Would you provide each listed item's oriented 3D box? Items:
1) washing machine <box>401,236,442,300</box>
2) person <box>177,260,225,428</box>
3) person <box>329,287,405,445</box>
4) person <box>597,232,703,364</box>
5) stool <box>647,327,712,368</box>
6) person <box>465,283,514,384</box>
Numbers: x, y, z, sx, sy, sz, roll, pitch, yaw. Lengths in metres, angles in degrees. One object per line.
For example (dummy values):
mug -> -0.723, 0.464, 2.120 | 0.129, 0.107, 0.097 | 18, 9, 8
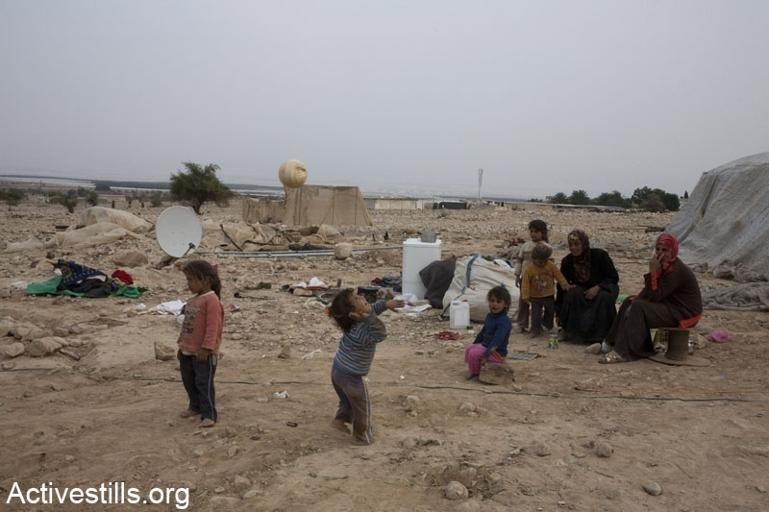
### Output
washing machine -> 0.670, 0.241, 9.602 | 0.687, 1.076, 0.616 | 2, 10, 2
person -> -1.849, 0.845, 5.236 | 0.431, 1.597, 0.592 | -2, 10, -21
person -> -0.139, 1.062, 5.053 | 0.863, 1.412, 0.792 | 2, -1, -17
person -> 3.547, 0.562, 6.898 | 1.244, 1.707, 0.390 | 1, 10, -3
stool -> 3.938, 1.232, 6.910 | 0.603, 0.283, 0.574 | -1, 0, 2
person -> 1.269, 0.904, 6.314 | 0.526, 1.154, 0.428 | 3, 10, 8
